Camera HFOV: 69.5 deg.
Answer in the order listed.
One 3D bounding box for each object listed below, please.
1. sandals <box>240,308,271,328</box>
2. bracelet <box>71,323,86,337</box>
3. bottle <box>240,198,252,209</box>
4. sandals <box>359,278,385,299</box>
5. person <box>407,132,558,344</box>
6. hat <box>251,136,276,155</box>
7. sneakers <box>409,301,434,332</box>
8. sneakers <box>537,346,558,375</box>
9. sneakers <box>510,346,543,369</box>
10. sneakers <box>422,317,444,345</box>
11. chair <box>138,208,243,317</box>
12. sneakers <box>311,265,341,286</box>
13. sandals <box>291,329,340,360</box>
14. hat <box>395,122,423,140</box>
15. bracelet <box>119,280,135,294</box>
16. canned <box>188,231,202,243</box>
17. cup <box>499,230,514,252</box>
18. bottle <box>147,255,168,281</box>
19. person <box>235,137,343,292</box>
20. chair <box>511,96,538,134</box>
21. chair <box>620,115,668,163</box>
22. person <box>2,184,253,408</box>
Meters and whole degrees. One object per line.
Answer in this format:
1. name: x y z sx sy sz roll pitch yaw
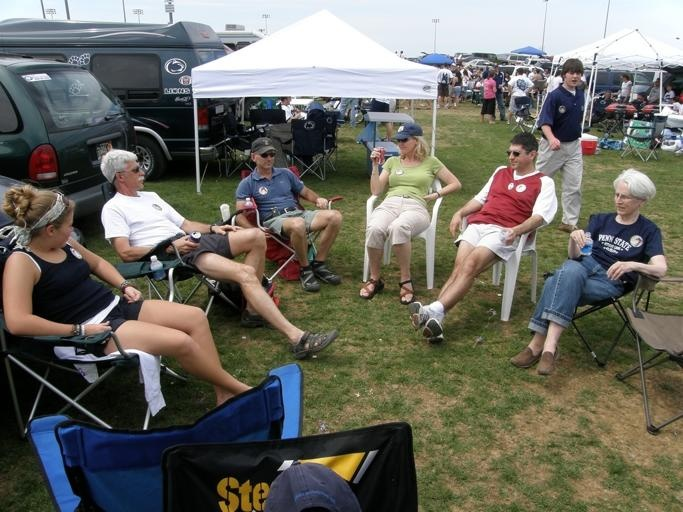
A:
1. sandals: -0.671 0.522 4.129 0.338 0.145 0.108 0 13 -7
2. bracelet: -1.438 0.404 2.715 0.056 0.027 0.067 5 19 -7
3. bottle: -0.881 -0.503 4.599 0.115 0.114 0.108 2 12 6
4. sandals: 0.292 0.279 4.650 0.195 0.160 0.300 5 20 10
5. person: 1.166 -0.198 4.187 1.577 1.507 0.900 -24 27 -36
6. hat: -0.771 -1.075 4.789 0.185 0.115 0.235 -6 11 -29
7. sneakers: 0.632 0.472 3.911 0.132 0.256 0.099 12 -28 -33
8. sneakers: 1.494 0.764 3.585 0.115 0.187 0.185 11 23 23
9. sneakers: 1.376 0.736 3.685 0.285 0.101 0.110 -16 16 -33
10. sneakers: 0.722 0.592 3.866 0.119 0.236 0.104 6 50 8
11. chair: -1.185 0.142 3.865 0.533 0.631 0.684 8 -23 -44
12. sneakers: -0.150 0.160 4.839 0.370 0.134 0.134 17 27 28
13. sandals: -0.196 0.642 3.680 0.362 0.156 0.169 -23 24 11
14. hat: 0.648 -1.231 4.825 0.263 0.126 0.159 0 22 -5
15. bracelet: -1.389 0.192 3.180 0.085 0.064 0.047 2 -14 28
16. canned: -1.142 -0.153 3.818 0.092 0.088 0.080 10 39 2
17. cup: 1.374 -0.126 4.049 0.120 0.140 0.142 9 16 29
18. bottle: -1.327 0.082 3.561 0.120 0.181 0.111 -13 25 6
19. person: -0.543 -0.450 4.772 0.959 1.290 1.102 -20 28 -38
20. chair: 5.592 -4.390 14.890 0.839 0.930 0.656 1 15 -27
21. chair: 6.943 -2.740 11.276 0.813 0.833 0.735 5 9 -39
22. person: -0.941 0.130 3.341 2.033 1.385 0.934 11 23 -6
